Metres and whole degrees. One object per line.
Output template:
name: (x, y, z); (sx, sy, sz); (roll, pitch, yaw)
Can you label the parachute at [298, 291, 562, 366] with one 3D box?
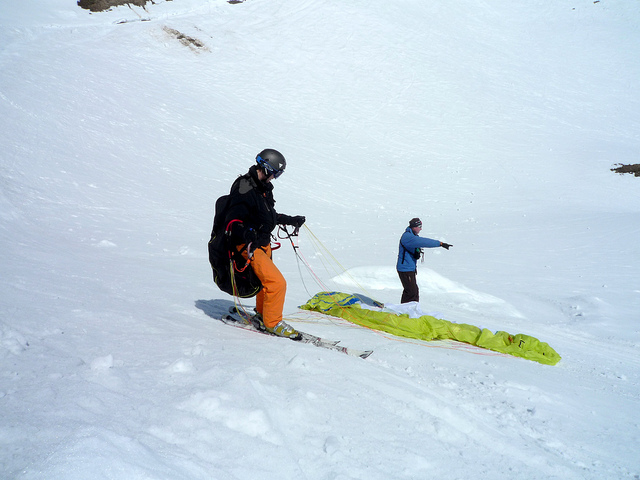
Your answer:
parachute: (2.118, 1.705, 12.446); (5.322, 0.455, 1.323); (8, -1, 28)
